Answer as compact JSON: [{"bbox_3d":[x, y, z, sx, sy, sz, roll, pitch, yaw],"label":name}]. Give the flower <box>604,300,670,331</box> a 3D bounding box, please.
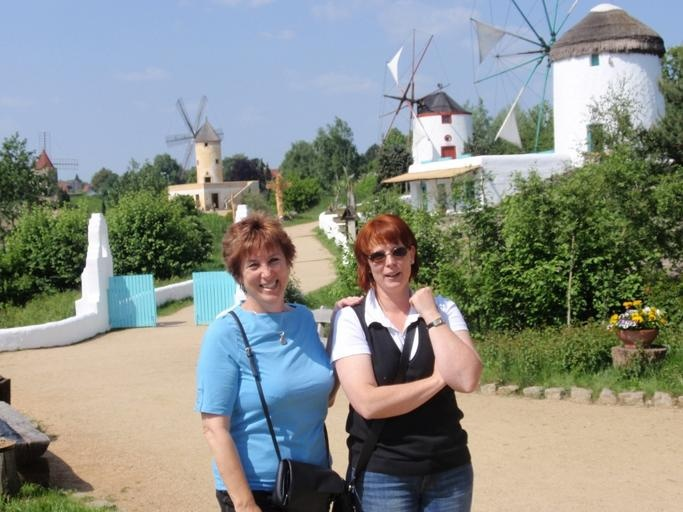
[{"bbox_3d":[6.056,1.298,16.392,0.756,0.548,0.852,-1,-5,-3],"label":"flower"}]
